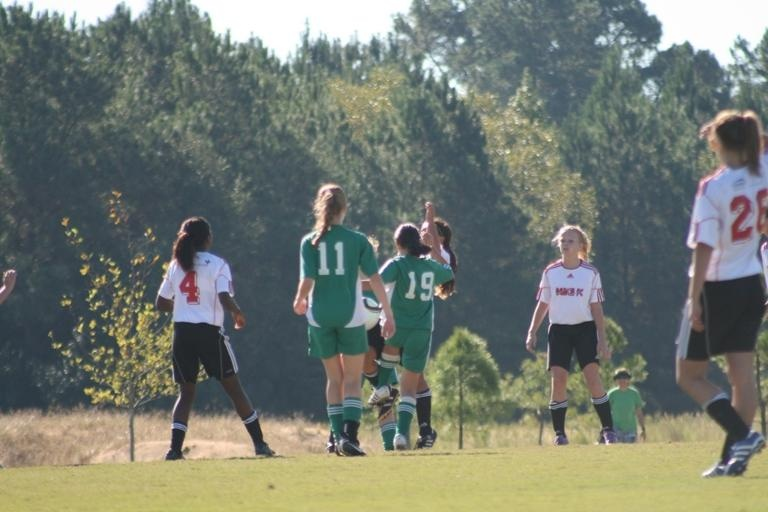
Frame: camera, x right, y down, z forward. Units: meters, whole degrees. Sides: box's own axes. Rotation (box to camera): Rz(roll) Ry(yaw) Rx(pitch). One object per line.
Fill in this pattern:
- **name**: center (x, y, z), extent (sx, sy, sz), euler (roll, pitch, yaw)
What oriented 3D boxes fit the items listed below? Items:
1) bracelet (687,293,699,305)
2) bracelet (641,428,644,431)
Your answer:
- **bracelet**: center (8.779, 1.156, 49.091), extent (0.238, 0.337, 0.327), euler (1, -8, -4)
- **bracelet**: center (8.521, 5.649, 57.048), extent (0.087, 0.087, 0.281), euler (19, 11, 8)
